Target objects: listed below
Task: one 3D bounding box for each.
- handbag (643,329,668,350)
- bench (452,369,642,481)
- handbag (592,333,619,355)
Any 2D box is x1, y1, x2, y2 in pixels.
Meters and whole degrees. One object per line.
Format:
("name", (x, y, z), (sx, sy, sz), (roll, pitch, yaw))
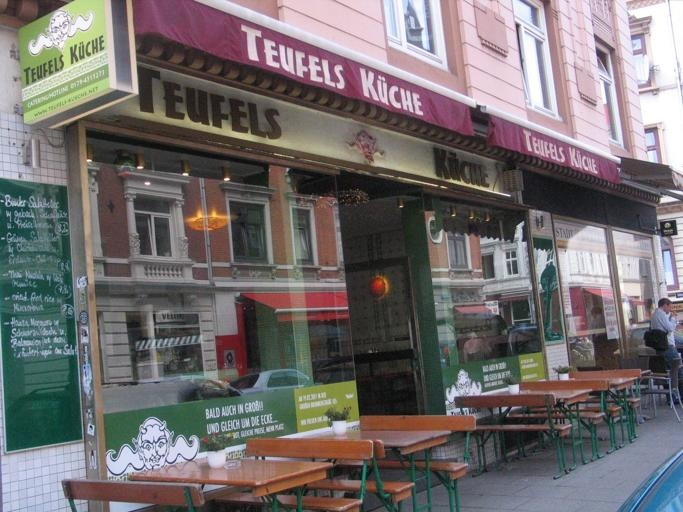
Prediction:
("handbag", (6.333, 1.699, 14.433), (0.429, 0.471, 0.340), (-9, -9, 23))
("bench", (3.231, 2.413, 10.689), (2.004, 1.148, 3.529), (-10, -9, 33))
("handbag", (5.292, 1.771, 14.451), (0.522, 0.474, 0.279), (4, -8, -37))
